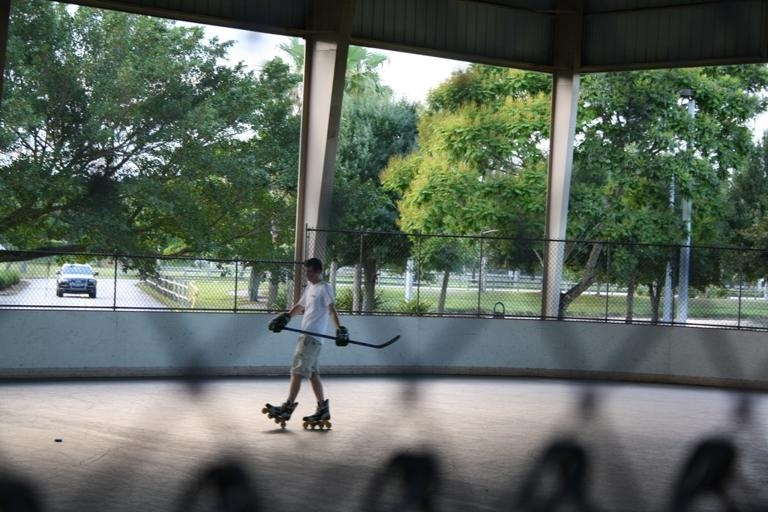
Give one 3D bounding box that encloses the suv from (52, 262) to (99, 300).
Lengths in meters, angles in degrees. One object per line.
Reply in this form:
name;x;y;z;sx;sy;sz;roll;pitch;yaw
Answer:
suv;-11.215;0.897;26.558;1.488;1.250;2.728;2;-8;-19
